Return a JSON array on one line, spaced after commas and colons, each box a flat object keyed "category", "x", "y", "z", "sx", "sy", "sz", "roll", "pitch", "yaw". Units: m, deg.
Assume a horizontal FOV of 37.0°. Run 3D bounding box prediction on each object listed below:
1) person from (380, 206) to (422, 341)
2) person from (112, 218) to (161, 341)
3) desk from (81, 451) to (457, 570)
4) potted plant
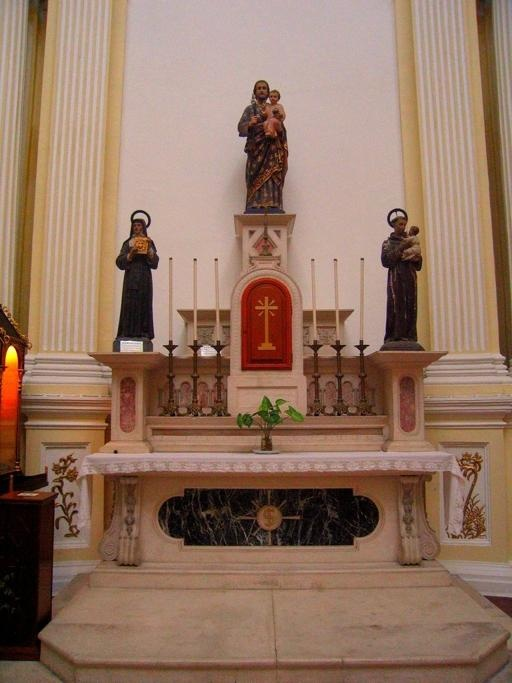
[{"category": "person", "x": 0.965, "y": -0.405, "z": 5.032, "sx": 0.246, "sy": 0.797, "sz": 0.318, "roll": 0, "pitch": 13, "yaw": 3}, {"category": "person", "x": -0.804, "y": -0.428, "z": 5.112, "sx": 0.281, "sy": 0.849, "sz": 0.530, "roll": -2, "pitch": 13, "yaw": -5}, {"category": "desk", "x": 0.095, "y": 0.895, "z": 4.671, "sx": 2.265, "sy": 0.485, "sz": 0.442, "roll": -1, "pitch": 13, "yaw": -1}, {"category": "potted plant", "x": 0.087, "y": 0.483, "z": 4.793, "sx": 0.389, "sy": 0.252, "sz": 0.371, "roll": 5, "pitch": -15, "yaw": -17}]
